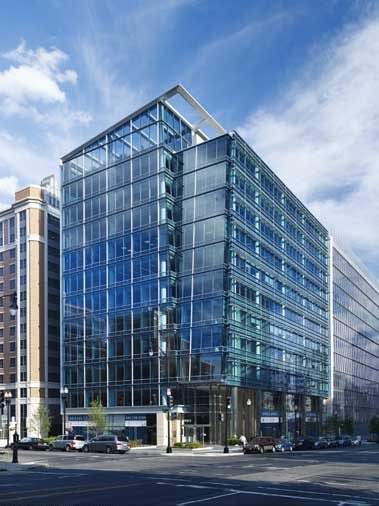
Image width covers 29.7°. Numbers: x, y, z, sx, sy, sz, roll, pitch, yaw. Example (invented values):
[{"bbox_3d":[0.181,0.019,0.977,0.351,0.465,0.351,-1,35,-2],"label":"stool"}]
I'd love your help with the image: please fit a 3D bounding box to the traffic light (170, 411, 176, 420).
[{"bbox_3d":[-1.640,15.603,68.422,0.678,0.592,0.678,0,-8,13],"label":"traffic light"}]
